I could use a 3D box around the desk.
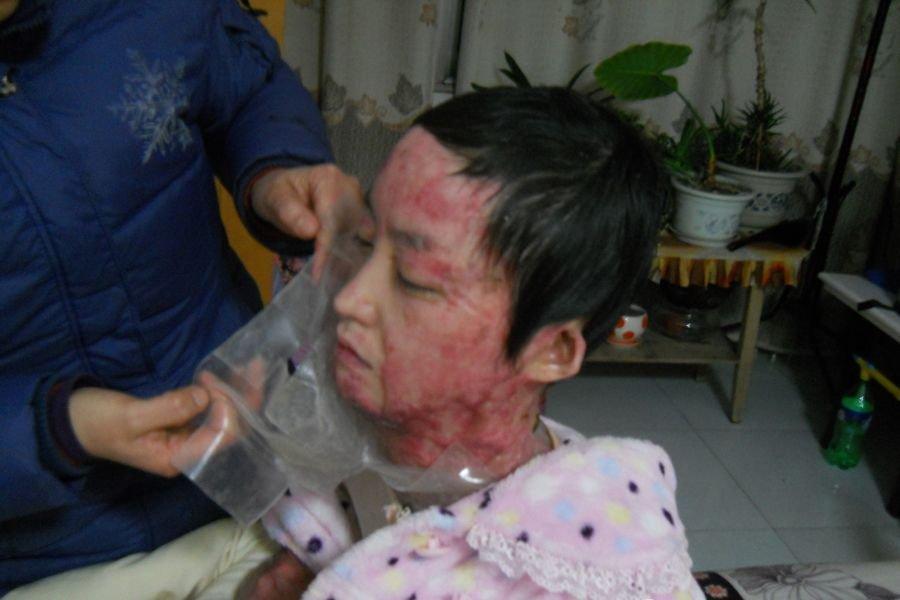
[{"bbox_3d":[0.826,0.006,2.718,0.597,0.539,0.667,4,26,3],"label":"desk"}]
